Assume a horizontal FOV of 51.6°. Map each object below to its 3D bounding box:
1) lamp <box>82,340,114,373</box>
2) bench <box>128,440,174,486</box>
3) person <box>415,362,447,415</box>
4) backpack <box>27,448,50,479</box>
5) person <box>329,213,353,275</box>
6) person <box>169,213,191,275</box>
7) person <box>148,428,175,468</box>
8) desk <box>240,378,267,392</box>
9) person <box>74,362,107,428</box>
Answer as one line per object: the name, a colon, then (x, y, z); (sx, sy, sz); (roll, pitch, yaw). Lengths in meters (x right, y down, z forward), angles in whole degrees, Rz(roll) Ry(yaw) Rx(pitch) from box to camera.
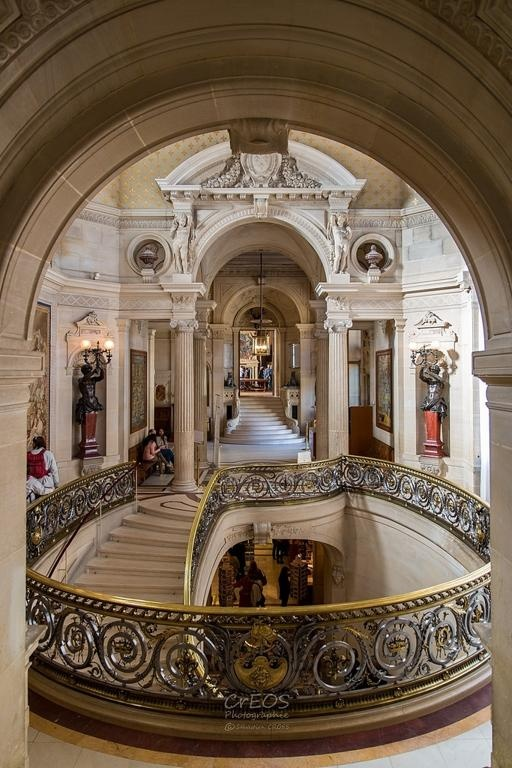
lamp: (-3.114, -0.552, 10.205); (0.570, 0.694, 0.611); (0, 0, 5)
bench: (-2.385, 1.820, 12.031); (0.931, 0.795, 2.309); (-1, 5, -9)
person: (3.319, 0.107, 9.916); (0.461, 1.035, 0.307); (1, 4, 21)
backpack: (-2.916, 1.067, 7.029); (0.224, 0.398, 0.137); (-1, 4, -18)
person: (1.671, -2.819, 10.617); (0.392, 1.199, 0.154); (0, 4, 8)
person: (-1.468, -2.785, 10.432); (0.427, 1.184, 0.171); (-1, 4, -7)
person: (-2.329, 1.585, 12.816); (0.593, 0.469, 1.110); (-2, -46, -1)
desk: (-0.136, 0.014, 28.370); (1.394, 0.608, 1.284); (0, 5, -1)
person: (-3.228, 0.203, 10.157); (0.521, 1.236, 0.737); (-2, 4, -20)
